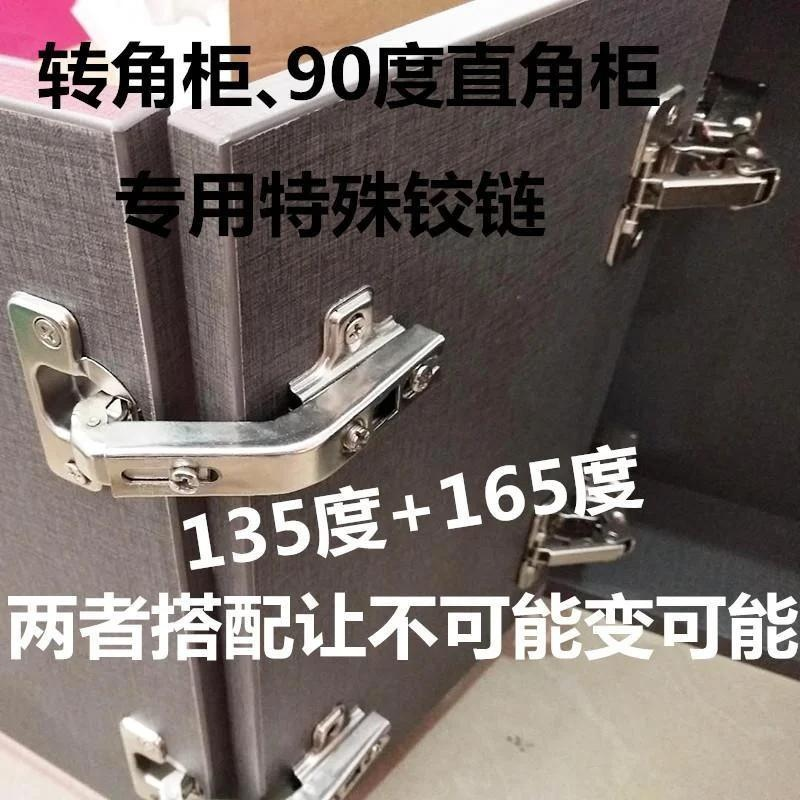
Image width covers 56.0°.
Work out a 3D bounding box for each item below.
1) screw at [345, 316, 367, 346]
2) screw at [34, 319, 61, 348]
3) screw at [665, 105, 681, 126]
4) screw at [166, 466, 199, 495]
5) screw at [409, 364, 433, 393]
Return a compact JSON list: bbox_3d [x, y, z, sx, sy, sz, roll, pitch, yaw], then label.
[{"bbox_3d":[-0.026,-0.040,0.435,0.003,0.014,0.013,19,41,29],"label":"screw"},{"bbox_3d":[-0.180,-0.035,0.389,0.015,0.015,0.004,25,38,14],"label":"screw"},{"bbox_3d":[0.233,-0.243,0.645,0.012,0.016,0.004,-13,37,-35],"label":"screw"},{"bbox_3d":[-0.107,0.040,0.374,0.013,0.019,0.008,-4,23,-18],"label":"screw"},{"bbox_3d":[0.012,-0.014,0.464,0.018,0.014,0.005,-32,57,-26],"label":"screw"}]
